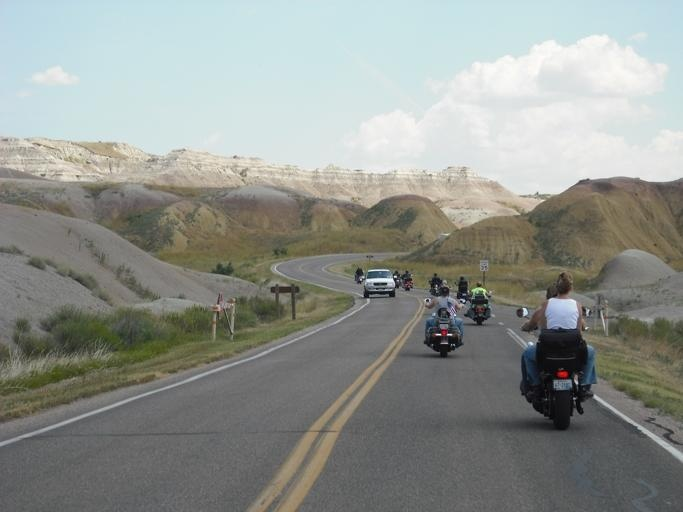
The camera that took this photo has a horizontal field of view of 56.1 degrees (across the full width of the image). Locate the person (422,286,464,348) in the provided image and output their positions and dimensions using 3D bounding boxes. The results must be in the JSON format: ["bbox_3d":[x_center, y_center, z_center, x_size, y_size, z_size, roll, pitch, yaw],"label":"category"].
[{"bbox_3d":[2.850,1.813,17.643,1.075,1.595,2.755,-2,6,7],"label":"person"}]

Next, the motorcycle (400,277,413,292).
[{"bbox_3d":[5.732,2.417,55.487,0.873,1.147,1.782,0,0,1],"label":"motorcycle"}]

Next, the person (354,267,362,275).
[{"bbox_3d":[1.729,1.540,63.094,0.531,0.814,0.362,4,3,0],"label":"person"}]

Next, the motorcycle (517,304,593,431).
[{"bbox_3d":[3.532,1.876,10.902,0.993,1.860,2.622,-1,-5,9],"label":"motorcycle"}]

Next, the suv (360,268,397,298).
[{"bbox_3d":[2.784,2.142,47.943,1.499,1.537,3.263,-1,-8,-1],"label":"suv"}]

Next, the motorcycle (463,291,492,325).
[{"bbox_3d":[5.814,2.113,26.954,0.675,0.951,1.602,3,6,9],"label":"motorcycle"}]

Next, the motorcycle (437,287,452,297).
[{"bbox_3d":[3.008,1.065,18.736,0.242,0.346,0.317,8,-10,-27],"label":"motorcycle"}]

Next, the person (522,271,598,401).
[{"bbox_3d":[3.252,1.375,9.776,0.946,1.286,2.039,0,9,11],"label":"person"}]

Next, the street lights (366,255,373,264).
[{"bbox_3d":[4.640,0.793,103.332,0.851,1.040,1.688,0,1,2],"label":"street lights"}]

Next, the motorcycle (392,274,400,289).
[{"bbox_3d":[5.034,2.231,58.053,0.622,0.843,1.354,1,2,2],"label":"motorcycle"}]
